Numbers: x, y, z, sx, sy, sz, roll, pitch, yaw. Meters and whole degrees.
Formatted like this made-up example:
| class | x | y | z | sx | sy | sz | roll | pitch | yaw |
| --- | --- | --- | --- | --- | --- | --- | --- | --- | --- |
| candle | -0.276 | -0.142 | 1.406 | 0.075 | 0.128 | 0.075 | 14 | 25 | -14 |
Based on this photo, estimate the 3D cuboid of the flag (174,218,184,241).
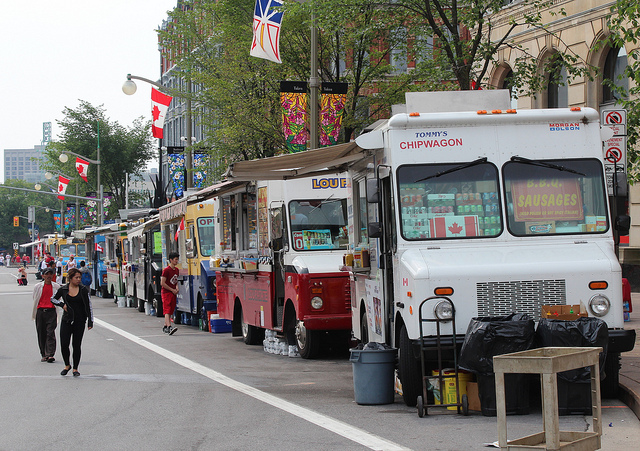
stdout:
| class | x | y | z | sx | sy | sz | roll | pitch | yaw |
| --- | --- | --- | --- | --- | --- | --- | --- | --- | --- |
| flag | -4.226 | 0.111 | 25.187 | 0.110 | 0.562 | 1.581 | -1 | -3 | -16 |

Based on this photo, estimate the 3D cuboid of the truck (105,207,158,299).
| class | x | y | z | sx | sy | sz | roll | pitch | yaw |
| --- | --- | --- | --- | --- | --- | --- | --- | --- | --- |
| truck | -8.923 | 1.298 | 39.306 | 3.217 | 4.381 | 4.627 | -1 | -1 | -28 |

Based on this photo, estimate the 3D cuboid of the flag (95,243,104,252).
| class | x | y | z | sx | sy | sz | roll | pitch | yaw |
| --- | --- | --- | --- | --- | --- | --- | --- | --- | --- |
| flag | -11.713 | 1.101 | 44.633 | 0.402 | 0.563 | 0.060 | 9 | -25 | -25 |

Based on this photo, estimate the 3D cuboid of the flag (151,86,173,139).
| class | x | y | z | sx | sy | sz | roll | pitch | yaw |
| --- | --- | --- | --- | --- | --- | --- | --- | --- | --- |
| flag | -6.865 | -4.958 | 36.113 | 0.710 | 2.126 | 1.359 | -1 | -3 | -11 |
